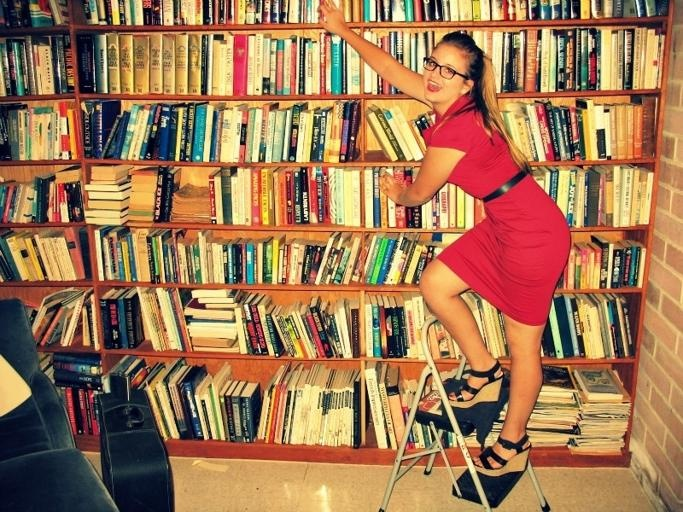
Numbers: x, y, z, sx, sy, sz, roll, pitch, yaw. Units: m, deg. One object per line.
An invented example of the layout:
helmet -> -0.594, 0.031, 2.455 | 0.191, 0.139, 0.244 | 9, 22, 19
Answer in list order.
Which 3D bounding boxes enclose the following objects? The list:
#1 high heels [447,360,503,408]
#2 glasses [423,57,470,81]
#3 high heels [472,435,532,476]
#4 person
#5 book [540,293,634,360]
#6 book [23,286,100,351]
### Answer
high heels -> 0.663, 0.637, 3.107 | 0.338, 0.186, 0.164 | -4, 7, 3
glasses -> 0.479, -0.855, 2.783 | 0.203, 0.102, 0.053 | 1, 10, 8
high heels -> 0.779, 0.969, 3.034 | 0.311, 0.181, 0.155 | -1, 8, 3
person -> 0.678, 0.011, 2.968 | 0.791, 2.088, 0.380 | 2, 11, 18
book -> 1.369, 0.383, 3.707 | 0.584, 0.486, 0.384 | 2, 7, -4
book -> -1.700, 0.388, 3.764 | 0.427, 0.372, 0.146 | -1, 16, -31
